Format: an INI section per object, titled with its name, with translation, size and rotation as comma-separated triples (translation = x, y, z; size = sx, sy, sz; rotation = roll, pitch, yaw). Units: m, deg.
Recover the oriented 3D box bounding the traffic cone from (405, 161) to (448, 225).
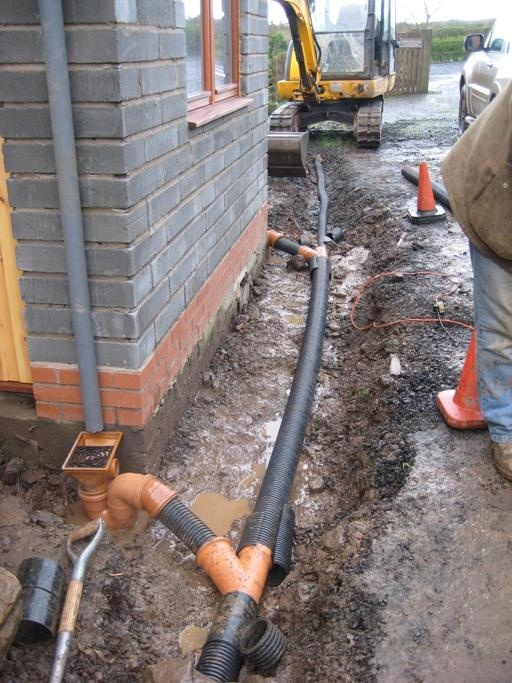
[traffic cone]
translation = 1.820, -1.632, 5.936
size = 0.432, 0.562, 0.448
rotation = -24, 25, -39
